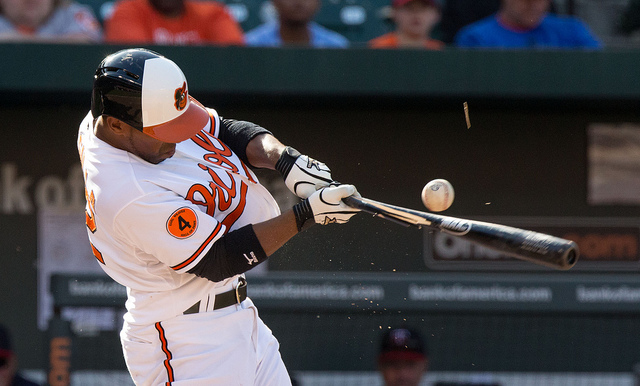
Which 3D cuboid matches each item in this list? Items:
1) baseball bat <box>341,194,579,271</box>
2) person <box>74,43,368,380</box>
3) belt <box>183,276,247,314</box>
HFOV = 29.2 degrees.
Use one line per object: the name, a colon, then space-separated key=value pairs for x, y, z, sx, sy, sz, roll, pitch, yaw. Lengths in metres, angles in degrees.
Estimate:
baseball bat: x=0.873 y=0.276 z=7.995 sx=1.319 sy=0.197 sz=0.138 roll=16 pitch=102 yaw=14
person: x=-0.592 y=0.088 z=7.669 sx=1.425 sy=2.348 sz=0.862 roll=-14 pitch=45 yaw=-3
belt: x=-0.596 y=0.587 z=7.276 sx=0.250 sy=0.227 sz=0.067 roll=-18 pitch=87 yaw=17
